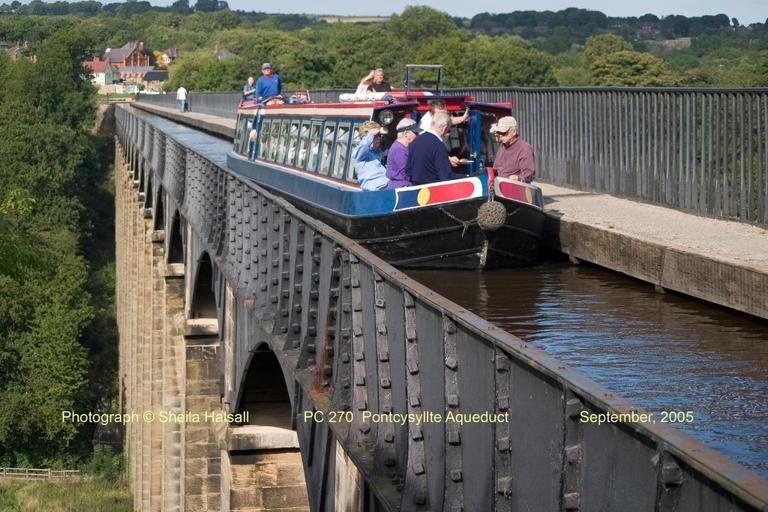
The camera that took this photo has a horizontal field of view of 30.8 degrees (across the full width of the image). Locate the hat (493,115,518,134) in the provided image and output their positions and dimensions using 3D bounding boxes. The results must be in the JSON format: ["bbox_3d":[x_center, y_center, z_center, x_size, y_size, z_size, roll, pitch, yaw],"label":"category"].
[{"bbox_3d":[3.462,-3.806,40.273,0.663,0.474,0.315,-1,4,14],"label":"hat"}]

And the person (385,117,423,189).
[{"bbox_3d":[0.580,-2.913,39.699,1.089,2.664,0.827,-13,29,-16],"label":"person"}]

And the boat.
[{"bbox_3d":[-1.413,-2.503,44.414,3.806,3.685,13.243,0,6,-29],"label":"boat"}]

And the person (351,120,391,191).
[{"bbox_3d":[-0.399,-2.865,39.845,0.974,1.947,1.594,-2,4,-1],"label":"person"}]

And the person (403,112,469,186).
[{"bbox_3d":[1.255,-3.036,39.180,1.194,2.045,0.780,-2,4,0],"label":"person"}]
